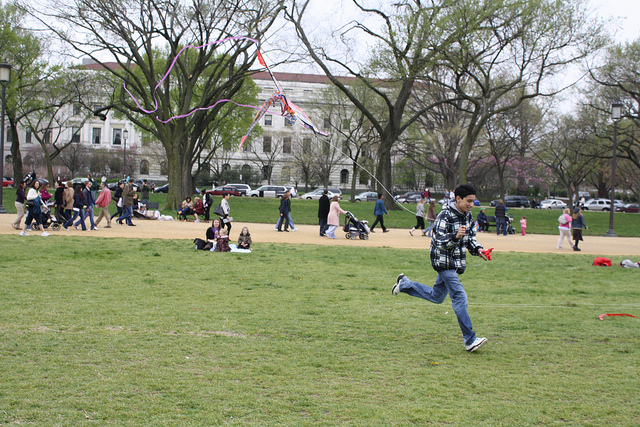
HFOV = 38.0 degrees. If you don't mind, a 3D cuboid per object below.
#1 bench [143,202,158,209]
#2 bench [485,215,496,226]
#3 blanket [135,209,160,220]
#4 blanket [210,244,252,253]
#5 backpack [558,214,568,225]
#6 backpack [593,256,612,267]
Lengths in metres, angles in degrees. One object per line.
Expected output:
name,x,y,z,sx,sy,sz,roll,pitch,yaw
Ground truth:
bench,-10.009,-0.481,55.685,0.803,0.332,0.506,1,-3,-20
bench,10.177,0.321,55.039,0.580,0.305,1.324,-1,4,2
blanket,-9.563,0.094,52.167,1.236,0.493,0.442,1,0,-5
blanket,-3.602,1.583,41.303,1.179,0.298,0.762,1,0,37
backpack,12.140,0.353,46.560,0.333,0.436,0.432,-6,-8,28
backpack,12.676,2.208,41.712,0.809,0.268,1.102,1,0,17
